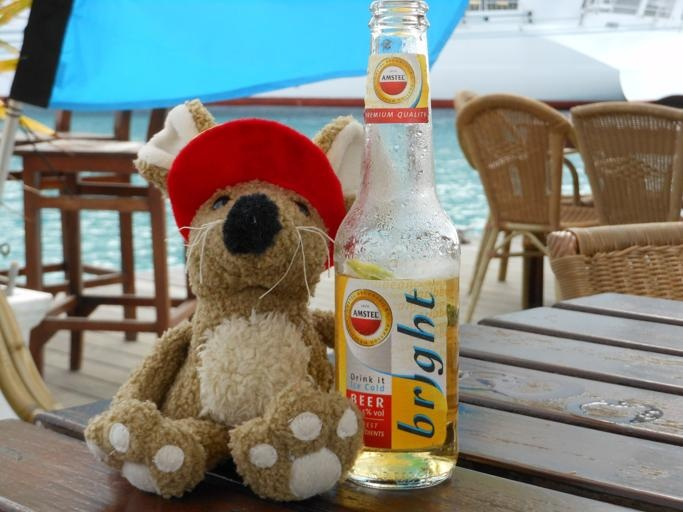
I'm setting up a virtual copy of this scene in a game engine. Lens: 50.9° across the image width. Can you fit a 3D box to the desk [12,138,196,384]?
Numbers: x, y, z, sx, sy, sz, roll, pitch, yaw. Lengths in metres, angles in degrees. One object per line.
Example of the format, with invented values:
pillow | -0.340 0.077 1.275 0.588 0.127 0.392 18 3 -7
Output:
desk | -0.798 -0.018 2.242 0.514 0.550 0.525 0 3 31
